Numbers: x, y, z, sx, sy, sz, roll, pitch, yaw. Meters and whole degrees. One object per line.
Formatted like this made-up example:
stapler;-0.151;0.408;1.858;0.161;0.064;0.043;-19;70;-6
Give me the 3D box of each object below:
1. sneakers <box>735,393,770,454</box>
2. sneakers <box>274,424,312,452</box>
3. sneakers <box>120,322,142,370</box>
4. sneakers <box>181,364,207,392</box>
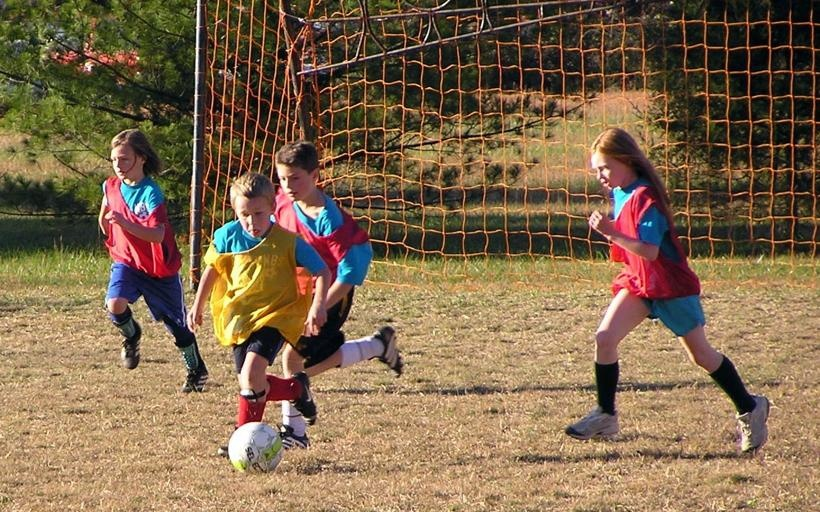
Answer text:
sneakers;3.315;1.628;11.606;0.220;0.587;0.257;4;-4;40
sneakers;-1.146;1.792;11.713;0.414;0.216;0.139;11;-11;-25
sneakers;-2.959;0.979;12.785;0.179;0.544;0.230;1;14;1
sneakers;-2.295;1.320;12.663;0.144;0.184;0.405;1;7;10
